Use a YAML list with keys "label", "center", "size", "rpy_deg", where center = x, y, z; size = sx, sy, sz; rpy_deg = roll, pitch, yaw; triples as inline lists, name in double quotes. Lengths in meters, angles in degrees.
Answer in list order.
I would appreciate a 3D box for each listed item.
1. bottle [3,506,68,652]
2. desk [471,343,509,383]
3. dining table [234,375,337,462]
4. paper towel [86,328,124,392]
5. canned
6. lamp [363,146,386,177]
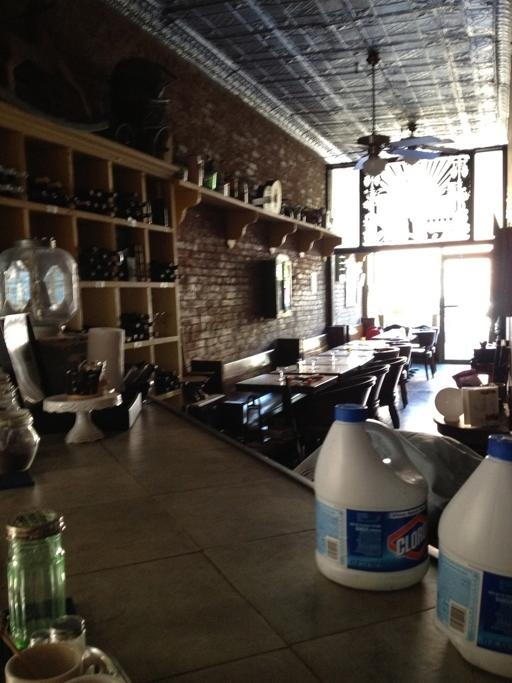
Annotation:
- label: "bottle"
  center: [-0.300, 0.312, 0.740]
  size: [0.075, 0.171, 0.130]
  rpy_deg: [0, 2, -22]
- label: "desk"
  center: [2.646, 0.246, 6.095]
  size: [0.332, 0.530, 0.595]
  rpy_deg: [2, 3, 26]
- label: "dining table"
  center: [0.300, 0.633, 5.131]
  size: [0.728, 0.630, 0.808]
  rpy_deg: [2, 2, 24]
- label: "paper towel"
  center: [-0.650, 0.078, 2.304]
  size: [0.147, 0.266, 0.253]
  rpy_deg: [1, 2, 3]
- label: "canned"
  center: [-0.310, 0.315, 0.754]
  size: [0.085, 0.178, 0.164]
  rpy_deg: [0, 2, -18]
- label: "lamp"
  center: [1.140, -1.721, 5.195]
  size: [0.088, 0.256, 0.201]
  rpy_deg: [15, 35, 38]
